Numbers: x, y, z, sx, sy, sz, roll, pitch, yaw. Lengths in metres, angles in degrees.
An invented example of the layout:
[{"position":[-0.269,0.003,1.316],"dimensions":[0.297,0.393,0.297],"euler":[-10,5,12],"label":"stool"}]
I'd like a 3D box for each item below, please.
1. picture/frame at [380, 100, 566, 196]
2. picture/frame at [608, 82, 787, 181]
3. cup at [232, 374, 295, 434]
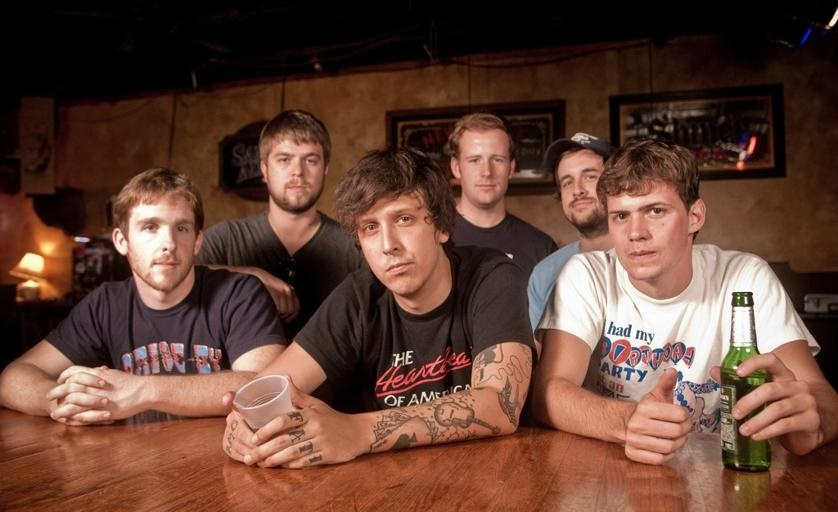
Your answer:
[{"position":[0.654,-1.291,7.811],"dimensions":[2.388,1.205,0.115],"euler":[3,13,25],"label":"picture/frame"},{"position":[3.182,-1.358,7.235],"dimensions":[1.975,0.992,0.074],"euler":[-3,2,0],"label":"picture/frame"},{"position":[-0.713,0.683,2.997],"dimensions":[0.299,0.247,0.224],"euler":[-13,31,31],"label":"cup"}]
